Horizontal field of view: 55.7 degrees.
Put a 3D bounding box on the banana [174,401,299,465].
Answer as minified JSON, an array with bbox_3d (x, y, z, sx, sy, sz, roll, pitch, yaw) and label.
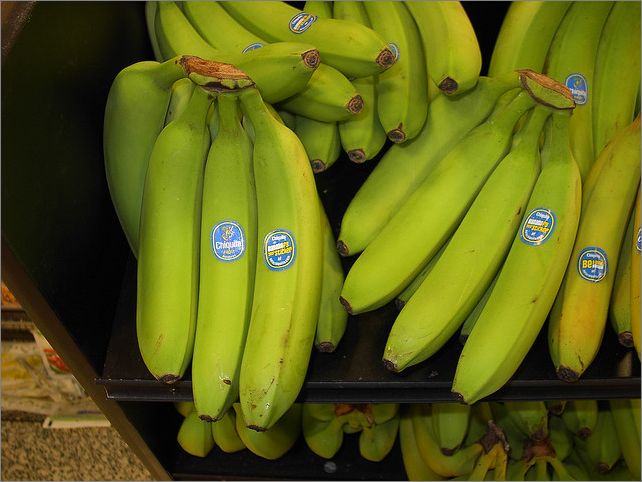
[{"bbox_3d":[-0.228,0.527,1.657,0.251,0.224,0.093,12,15,-2],"label":"banana"}]

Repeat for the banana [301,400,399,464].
[{"bbox_3d":[0.081,0.524,1.617,0.213,0.254,0.096,6,17,4],"label":"banana"}]
